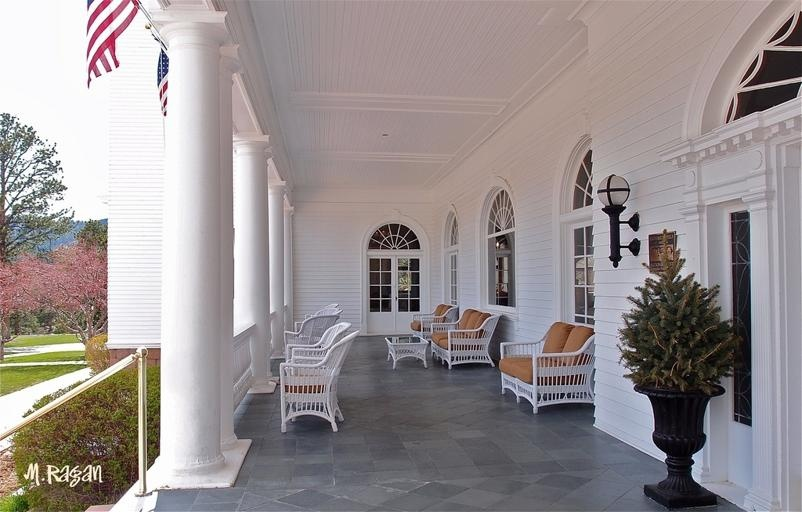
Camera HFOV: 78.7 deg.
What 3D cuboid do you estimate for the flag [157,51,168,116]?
[{"bbox_3d":[-2.582,-1.872,5.302,0.081,0.824,0.650,-2,3,-26],"label":"flag"}]

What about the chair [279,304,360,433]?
[{"bbox_3d":[-1.129,1.489,6.676,1.314,1.516,1.373,2,-2,-5],"label":"chair"}]

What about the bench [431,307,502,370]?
[{"bbox_3d":[1.307,1.654,10.377,1.235,0.917,1.601,-5,0,-6],"label":"bench"}]

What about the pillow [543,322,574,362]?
[{"bbox_3d":[2.331,1.266,7.191,0.189,0.356,0.483,10,-7,-10],"label":"pillow"}]

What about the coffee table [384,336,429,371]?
[{"bbox_3d":[0.172,1.979,10.447,0.780,0.467,1.178,-1,1,-1],"label":"coffee table"}]

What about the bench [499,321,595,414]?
[{"bbox_3d":[2.143,1.608,7.278,1.170,1.093,1.444,2,-7,-9],"label":"bench"}]

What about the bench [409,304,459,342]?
[{"bbox_3d":[0.836,1.673,12.511,1.080,0.839,0.806,-3,3,-15],"label":"bench"}]

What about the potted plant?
[{"bbox_3d":[2.524,0.994,4.468,0.957,2.414,0.556,1,3,18],"label":"potted plant"}]

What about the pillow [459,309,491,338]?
[{"bbox_3d":[1.455,1.358,10.132,0.512,0.515,0.607,7,16,40],"label":"pillow"}]

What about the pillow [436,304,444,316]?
[{"bbox_3d":[1.024,1.376,12.703,0.238,0.244,0.292,11,10,44],"label":"pillow"}]

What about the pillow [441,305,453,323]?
[{"bbox_3d":[1.126,1.433,12.279,0.340,0.393,0.321,0,-2,1],"label":"pillow"}]
